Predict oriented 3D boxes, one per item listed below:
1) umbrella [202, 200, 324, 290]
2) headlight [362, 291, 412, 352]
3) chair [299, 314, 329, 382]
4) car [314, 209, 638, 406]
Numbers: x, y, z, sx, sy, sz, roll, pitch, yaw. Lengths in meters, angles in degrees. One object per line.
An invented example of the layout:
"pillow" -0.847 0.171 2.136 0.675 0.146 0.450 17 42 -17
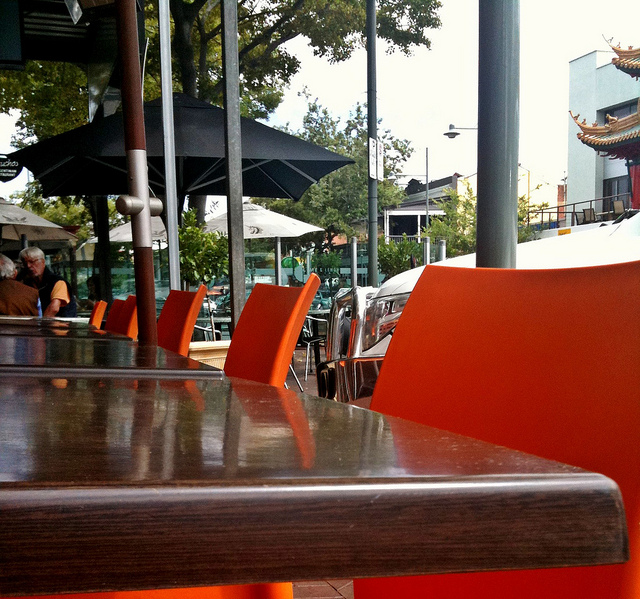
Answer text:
"umbrella" -0.781 -0.861 8.970 1.262 1.063 1.380 -1 0 11
"headlight" 0.285 0.094 3.051 0.121 0.303 0.434 -4 4 -16
"chair" -0.063 0.380 6.532 0.299 0.565 0.314 2 9 -11
"car" 0.705 0.028 3.353 1.444 0.879 0.863 3 -1 -7
